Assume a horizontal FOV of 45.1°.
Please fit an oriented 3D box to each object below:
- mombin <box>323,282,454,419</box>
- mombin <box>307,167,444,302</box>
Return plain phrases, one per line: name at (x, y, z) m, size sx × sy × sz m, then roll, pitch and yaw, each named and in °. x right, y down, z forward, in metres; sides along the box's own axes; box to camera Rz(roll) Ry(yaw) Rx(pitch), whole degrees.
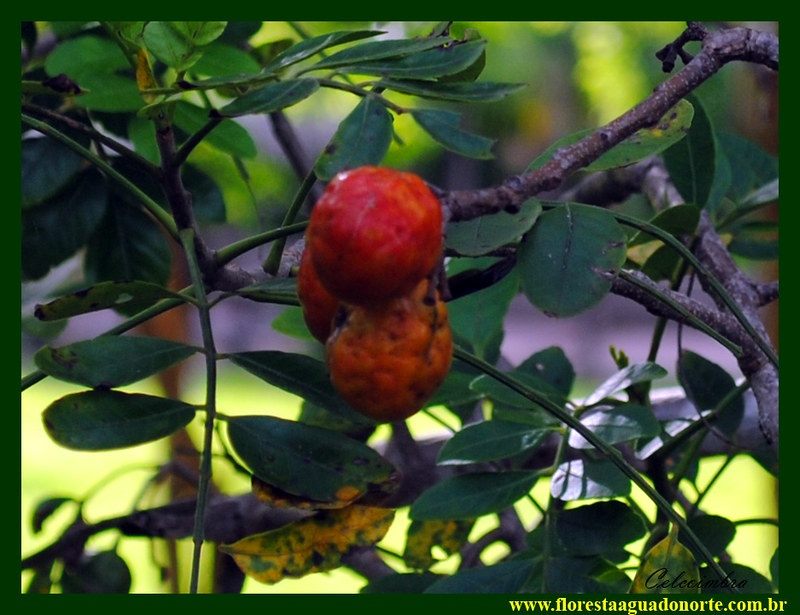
mombin at (0.007, 0.036, 1.036) m, size 0.135 × 0.133 × 0.158 m, roll -7°, pitch -78°, yaw -33°
mombin at (-0.025, -0.072, 0.931) m, size 0.108 × 0.140 × 0.104 m, roll 3°, pitch -84°, yaw 11°
